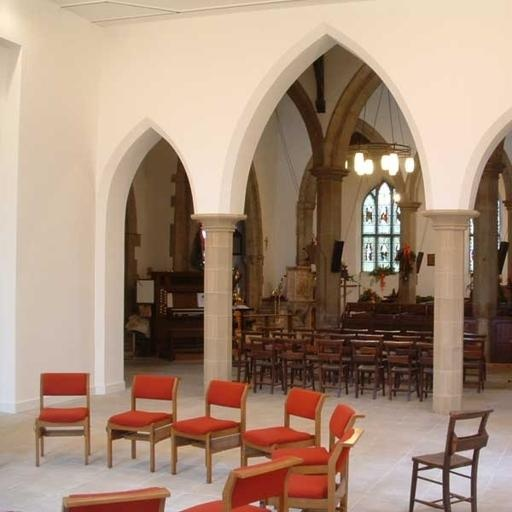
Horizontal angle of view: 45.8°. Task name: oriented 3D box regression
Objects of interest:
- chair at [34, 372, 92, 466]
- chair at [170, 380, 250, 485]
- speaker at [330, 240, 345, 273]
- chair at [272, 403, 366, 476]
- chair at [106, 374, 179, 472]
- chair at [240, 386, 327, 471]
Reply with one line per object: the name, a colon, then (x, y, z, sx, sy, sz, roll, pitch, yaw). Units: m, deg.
chair: (-1.926, 1.610, 6.050, 0.467, 0.911, 0.531, 3, -8, -26)
chair: (-0.420, 1.588, 5.586, 0.480, 0.892, 0.545, -4, -8, 44)
speaker: (1.813, -0.006, 13.662, 0.259, 0.741, 0.503, 0, -3, 7)
chair: (0.445, 1.302, 4.342, 0.478, 0.760, 0.452, 4, -6, -8)
chair: (-1.090, 1.600, 5.903, 0.549, 0.864, 0.611, -2, -7, 32)
chair: (0.231, 1.478, 5.055, 0.583, 0.767, 0.674, 2, -7, 28)
